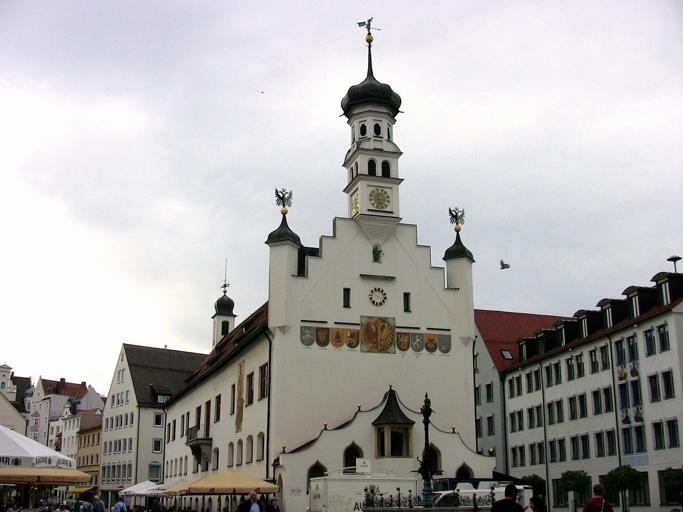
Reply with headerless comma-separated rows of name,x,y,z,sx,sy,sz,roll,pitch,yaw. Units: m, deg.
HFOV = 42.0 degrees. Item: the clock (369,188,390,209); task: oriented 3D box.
clock,2.414,-3.642,57.411,1.184,1.337,0.131,3,-22,-17
